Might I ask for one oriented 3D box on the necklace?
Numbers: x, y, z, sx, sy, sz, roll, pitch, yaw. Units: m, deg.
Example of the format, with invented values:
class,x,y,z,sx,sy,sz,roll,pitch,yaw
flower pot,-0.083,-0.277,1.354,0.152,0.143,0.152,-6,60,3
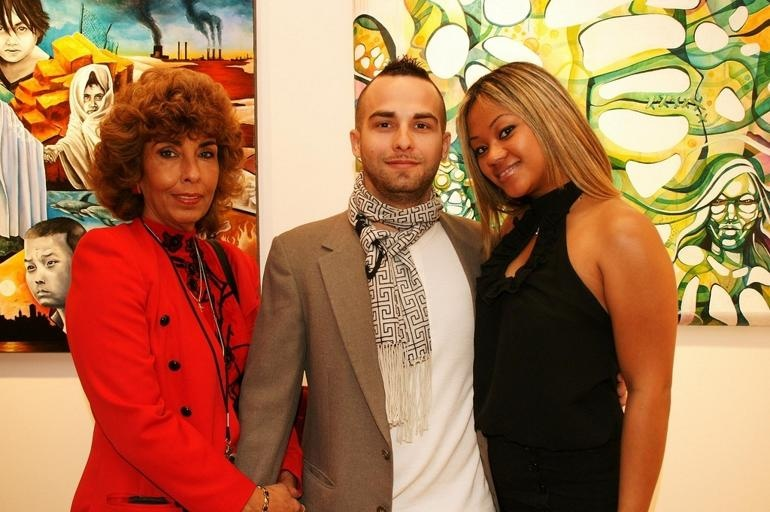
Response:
class,x,y,z,sx,sy,sz,roll,pitch,yaw
necklace,-0.987,0.078,3.306,0.106,0.460,0.219,-21,-7,16
